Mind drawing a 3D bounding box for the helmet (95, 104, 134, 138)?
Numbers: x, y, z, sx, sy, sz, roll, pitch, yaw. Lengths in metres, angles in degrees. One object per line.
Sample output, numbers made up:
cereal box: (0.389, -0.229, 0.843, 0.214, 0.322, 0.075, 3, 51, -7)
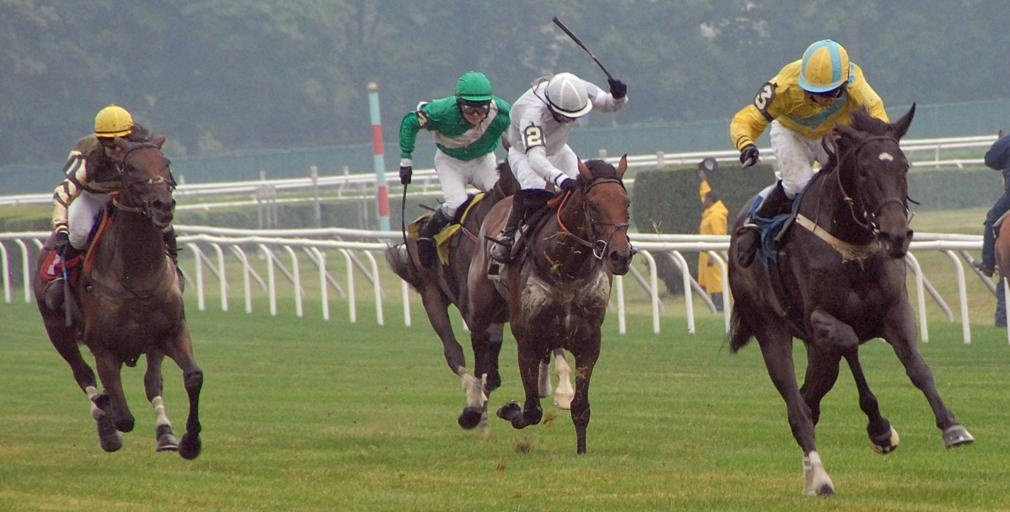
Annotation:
helmet: (-5.711, -1.997, 23.832, 0.585, 0.364, 0.535, -1, 4, 19)

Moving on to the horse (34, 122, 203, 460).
horse: (-5.618, 0.515, 23.721, 2.367, 4.806, 0.952, 2, 8, 29)

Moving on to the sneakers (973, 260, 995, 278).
sneakers: (7.609, 0.174, 25.710, 0.164, 0.151, 0.315, -12, 29, -33)

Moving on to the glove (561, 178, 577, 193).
glove: (0.912, -1.037, 23.576, 0.220, 0.200, 0.060, 38, 3, 25)

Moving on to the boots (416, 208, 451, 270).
boots: (-1.189, -0.297, 24.849, 0.583, 0.843, 0.400, 18, 9, 36)

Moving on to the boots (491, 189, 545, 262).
boots: (0.214, -0.420, 23.864, 0.411, 1.062, 0.434, 37, -6, 31)

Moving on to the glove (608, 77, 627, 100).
glove: (1.716, -2.522, 24.294, 0.235, 0.312, 0.151, -42, -3, 39)
